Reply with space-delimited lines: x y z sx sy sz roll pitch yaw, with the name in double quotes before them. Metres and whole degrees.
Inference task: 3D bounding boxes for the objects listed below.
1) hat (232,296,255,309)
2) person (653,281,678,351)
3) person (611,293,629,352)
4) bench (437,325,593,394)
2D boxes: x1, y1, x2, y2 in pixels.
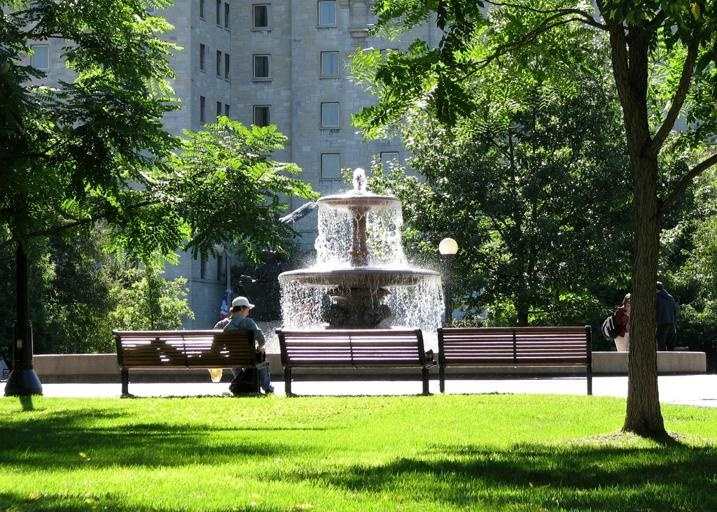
"hat" -2.179 0.863 27.722 0.470 0.263 0.353 -4 2 -21
"person" 7.083 1.403 33.665 0.390 1.642 0.970 1 5 14
"person" 5.881 1.486 32.631 0.296 1.398 1.341 0 5 9
"bench" 2.959 1.993 27.069 2.883 1.387 1.049 -1 -2 8
